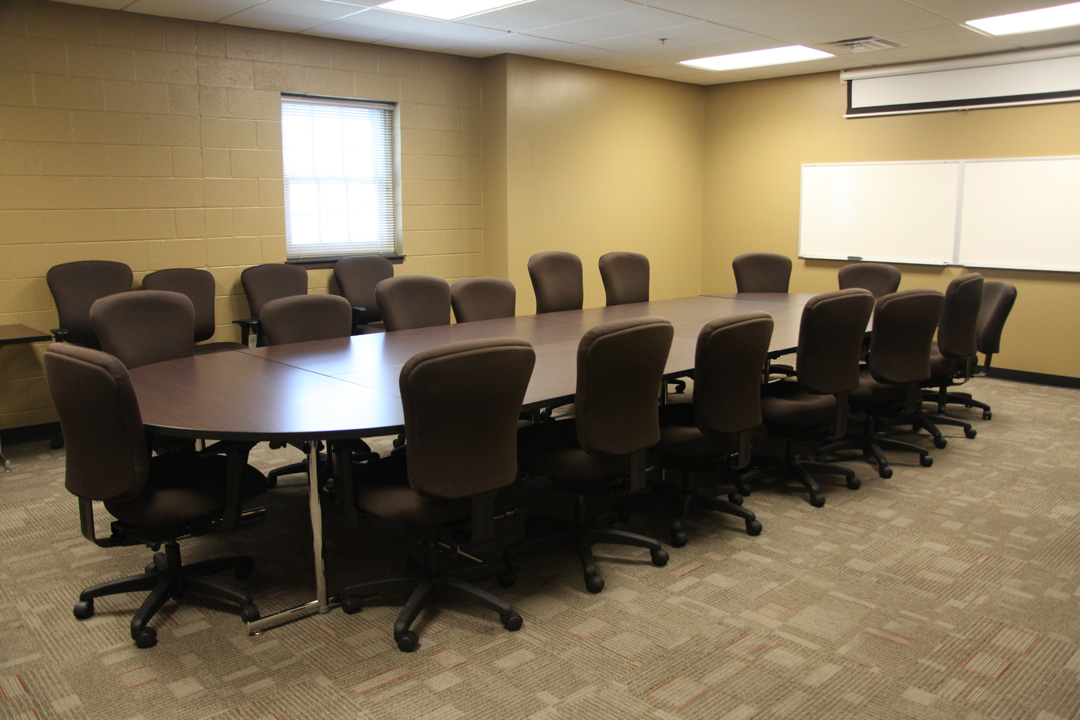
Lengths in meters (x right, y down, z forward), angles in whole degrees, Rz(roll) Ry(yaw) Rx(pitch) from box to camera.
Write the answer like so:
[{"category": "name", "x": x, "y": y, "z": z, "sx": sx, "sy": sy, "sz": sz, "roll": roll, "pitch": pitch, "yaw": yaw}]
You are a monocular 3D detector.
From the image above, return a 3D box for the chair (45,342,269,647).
[{"category": "chair", "x": -1.758, "y": 0.559, "z": 3.480, "sx": 0.767, "sy": 1.231, "sz": 0.807, "roll": 8, "pitch": 8, "yaw": 43}]

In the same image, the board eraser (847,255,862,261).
[{"category": "board eraser", "x": 3.361, "y": -1.073, "z": 7.969, "sx": 0.056, "sy": 0.029, "sz": 0.082, "roll": -14, "pitch": 19, "yaw": -40}]

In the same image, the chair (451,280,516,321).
[{"category": "chair", "x": -0.398, "y": -0.436, "z": 5.462, "sx": 0.355, "sy": 0.430, "sz": 0.365, "roll": -8, "pitch": 12, "yaw": -39}]

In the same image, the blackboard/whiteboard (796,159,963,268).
[{"category": "blackboard/whiteboard", "x": 3.574, "y": -1.516, "z": 7.717, "sx": 1.395, "sy": 0.848, "sz": 0.104, "roll": 5, "pitch": 11, "yaw": 35}]

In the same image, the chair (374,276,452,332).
[{"category": "chair", "x": -0.857, "y": -0.412, "z": 5.226, "sx": 0.444, "sy": 0.518, "sz": 0.447, "roll": -9, "pitch": 13, "yaw": -39}]

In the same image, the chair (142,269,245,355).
[{"category": "chair", "x": -2.727, "y": -0.365, "z": 6.168, "sx": 0.799, "sy": 0.875, "sz": 0.725, "roll": 3, "pitch": 4, "yaw": 35}]

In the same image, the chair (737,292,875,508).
[{"category": "chair", "x": 1.611, "y": 0.204, "z": 4.752, "sx": 0.854, "sy": 1.252, "sz": 0.817, "roll": -2, "pitch": 3, "yaw": -32}]

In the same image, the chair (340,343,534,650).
[{"category": "chair", "x": -0.448, "y": 0.532, "z": 3.369, "sx": 0.834, "sy": 1.329, "sz": 0.600, "roll": -7, "pitch": 18, "yaw": -15}]
